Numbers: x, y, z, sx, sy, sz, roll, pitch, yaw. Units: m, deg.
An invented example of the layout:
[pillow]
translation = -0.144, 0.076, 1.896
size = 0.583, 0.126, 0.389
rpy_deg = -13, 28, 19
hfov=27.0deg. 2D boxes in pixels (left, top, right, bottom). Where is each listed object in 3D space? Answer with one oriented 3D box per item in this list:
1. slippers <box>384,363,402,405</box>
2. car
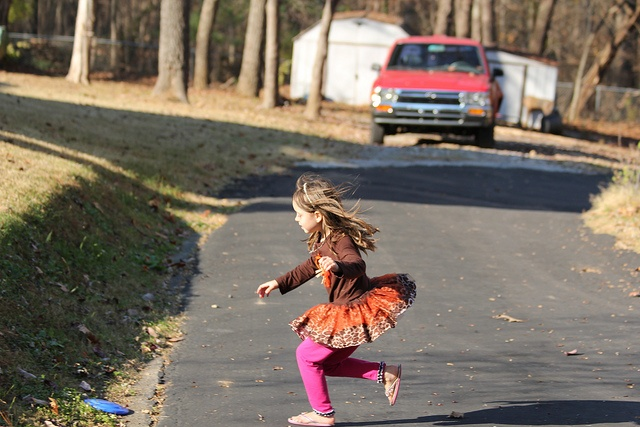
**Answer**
[slippers]
translation = 1.518, 3.490, 27.133
size = 0.346, 0.805, 0.306
rpy_deg = 0, 24, 1
[car]
translation = 3.397, -3.580, 39.068
size = 3.634, 3.214, 2.762
rpy_deg = 4, 10, 4
